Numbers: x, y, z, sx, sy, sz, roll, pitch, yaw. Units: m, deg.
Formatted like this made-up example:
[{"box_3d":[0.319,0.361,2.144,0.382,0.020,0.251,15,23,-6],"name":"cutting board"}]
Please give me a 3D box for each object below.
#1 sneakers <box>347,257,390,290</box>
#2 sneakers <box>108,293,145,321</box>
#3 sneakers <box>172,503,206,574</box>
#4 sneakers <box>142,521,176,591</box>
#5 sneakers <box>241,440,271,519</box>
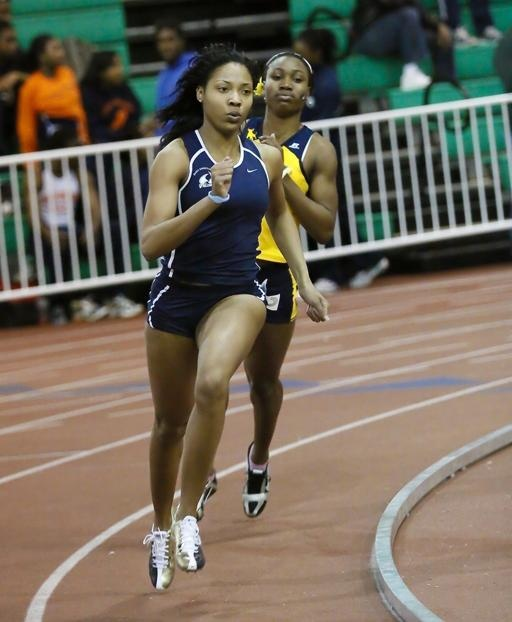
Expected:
[{"box_3d":[1.155,-0.358,7.673,0.453,0.240,0.166,-33,-3,13],"name":"sneakers"},{"box_3d":[-1.287,-0.024,7.297,0.431,0.294,0.143,-2,15,-4],"name":"sneakers"},{"box_3d":[-0.203,0.643,2.165,0.073,0.090,0.207,-2,40,-12],"name":"sneakers"},{"box_3d":[-0.297,0.734,2.317,0.084,0.100,0.235,-2,52,0],"name":"sneakers"},{"box_3d":[-0.001,0.716,3.106,0.085,0.099,0.241,2,59,2],"name":"sneakers"}]
